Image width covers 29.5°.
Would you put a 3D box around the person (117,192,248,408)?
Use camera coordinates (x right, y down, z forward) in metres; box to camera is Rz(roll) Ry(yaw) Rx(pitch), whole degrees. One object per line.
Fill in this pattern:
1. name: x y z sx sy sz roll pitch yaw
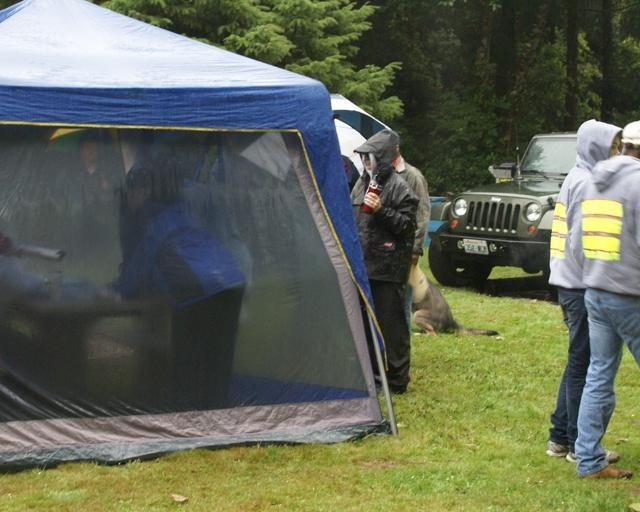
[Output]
1. person: -1.116 0.336 9.360 1.002 1.481 1.578 -3 7 -36

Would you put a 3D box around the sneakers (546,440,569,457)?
1. sneakers: 1.772 1.459 9.170 0.179 0.112 0.082 2 2 3

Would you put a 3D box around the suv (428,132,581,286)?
1. suv: 2.672 -0.581 15.120 2.361 1.258 1.379 3 -3 -43
